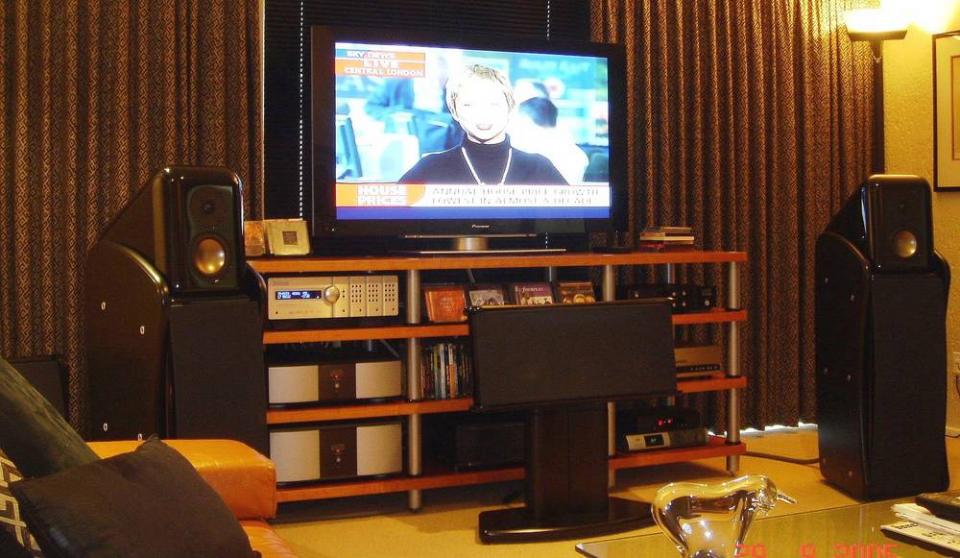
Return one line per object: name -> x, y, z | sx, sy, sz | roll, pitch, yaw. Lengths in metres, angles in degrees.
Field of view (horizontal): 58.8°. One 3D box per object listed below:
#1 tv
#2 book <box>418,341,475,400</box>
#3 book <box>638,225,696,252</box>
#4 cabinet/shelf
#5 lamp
tv -> -0.082, -0.798, 4.849 | 1.544, 0.840, 0.105 | -1, 4, -16
book -> -0.171, 0.479, 4.626 | 0.305, 0.397, 0.304 | -1, 0, -1
book -> 1.103, -0.245, 5.056 | 0.269, 0.128, 0.177 | -4, 12, -13
cabinet/shelf -> 0.076, 0.604, 5.095 | 3.165, 1.371, 0.818 | -1, -4, -24
lamp -> 2.619, -1.272, 5.700 | 0.389, 1.092, 0.418 | 4, 14, 25
